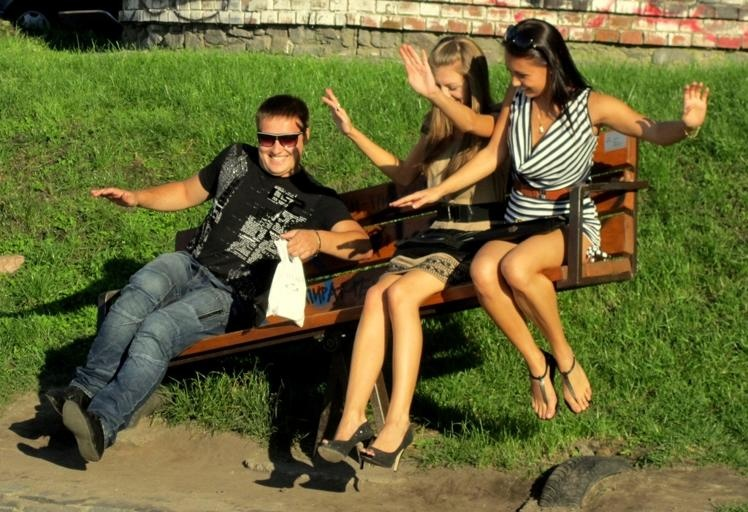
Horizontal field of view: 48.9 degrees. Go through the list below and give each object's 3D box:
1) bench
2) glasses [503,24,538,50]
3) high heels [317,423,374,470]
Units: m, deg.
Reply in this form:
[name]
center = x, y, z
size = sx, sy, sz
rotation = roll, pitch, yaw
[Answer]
[bench]
center = -0.042, 0.236, 6.466
size = 4.243, 1.833, 1.268
rotation = -7, 9, 20
[glasses]
center = 1.006, -1.503, 5.697
size = 0.170, 0.083, 0.182
rotation = 21, -3, 34
[high heels]
center = -0.164, 1.216, 5.493
size = 0.358, 0.131, 0.127
rotation = -18, -4, -25
